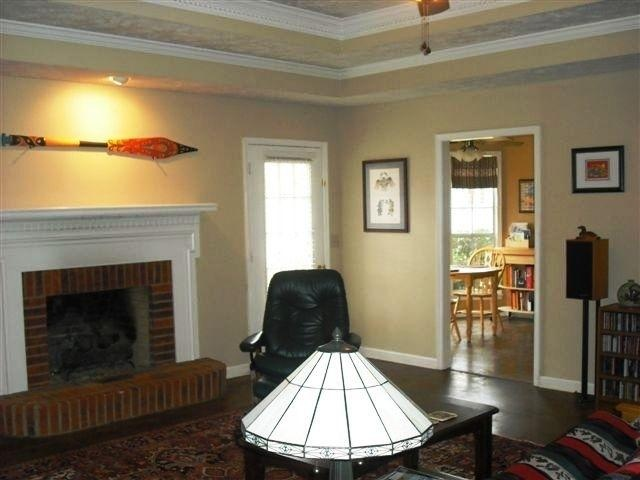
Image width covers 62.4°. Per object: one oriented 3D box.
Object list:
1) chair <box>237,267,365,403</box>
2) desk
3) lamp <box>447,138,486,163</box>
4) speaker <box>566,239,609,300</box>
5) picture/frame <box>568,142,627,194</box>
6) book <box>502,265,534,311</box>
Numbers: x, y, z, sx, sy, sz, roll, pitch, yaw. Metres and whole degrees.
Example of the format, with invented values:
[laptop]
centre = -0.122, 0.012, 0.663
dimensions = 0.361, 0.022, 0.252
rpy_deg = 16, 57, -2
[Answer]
[chair]
centre = -0.188, 0.777, 4.583
dimensions = 1.039, 1.230, 1.035
rpy_deg = -1, -3, 5
[desk]
centre = 2.275, 0.870, 7.235
dimensions = 0.689, 0.762, 0.779
rpy_deg = -8, -4, 26
[lamp]
centre = 1.892, -1.149, 6.767
dimensions = 0.325, 0.272, 0.331
rpy_deg = 0, 3, 3
[speaker]
centre = 2.324, 0.250, 4.571
dimensions = 0.346, 0.522, 0.208
rpy_deg = 1, 4, 15
[picture/frame]
centre = 2.465, -0.642, 4.654
dimensions = 0.473, 0.472, 0.053
rpy_deg = 2, 4, 36
[book]
centre = 2.954, 0.693, 7.825
dimensions = 0.240, 0.668, 0.708
rpy_deg = 0, 0, -34
